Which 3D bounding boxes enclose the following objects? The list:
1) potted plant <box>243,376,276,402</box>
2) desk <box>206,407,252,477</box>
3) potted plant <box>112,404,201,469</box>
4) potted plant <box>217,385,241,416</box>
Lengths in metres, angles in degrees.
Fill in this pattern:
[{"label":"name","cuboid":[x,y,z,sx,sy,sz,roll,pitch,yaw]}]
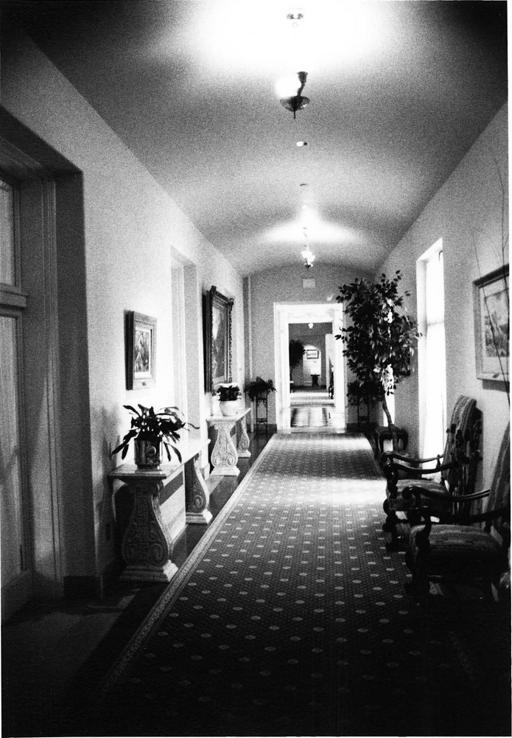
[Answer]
[{"label":"potted plant","cuboid":[0.065,0.460,12.308,0.554,0.406,0.575,1,8,41]},{"label":"desk","cuboid":[-0.386,1.125,8.520,0.381,0.897,1.685,0,1,7]},{"label":"potted plant","cuboid":[-0.769,0.485,3.860,0.489,0.422,0.540,2,-4,3]},{"label":"potted plant","cuboid":[-0.412,0.456,7.978,0.354,0.430,0.396,-1,1,0]}]
